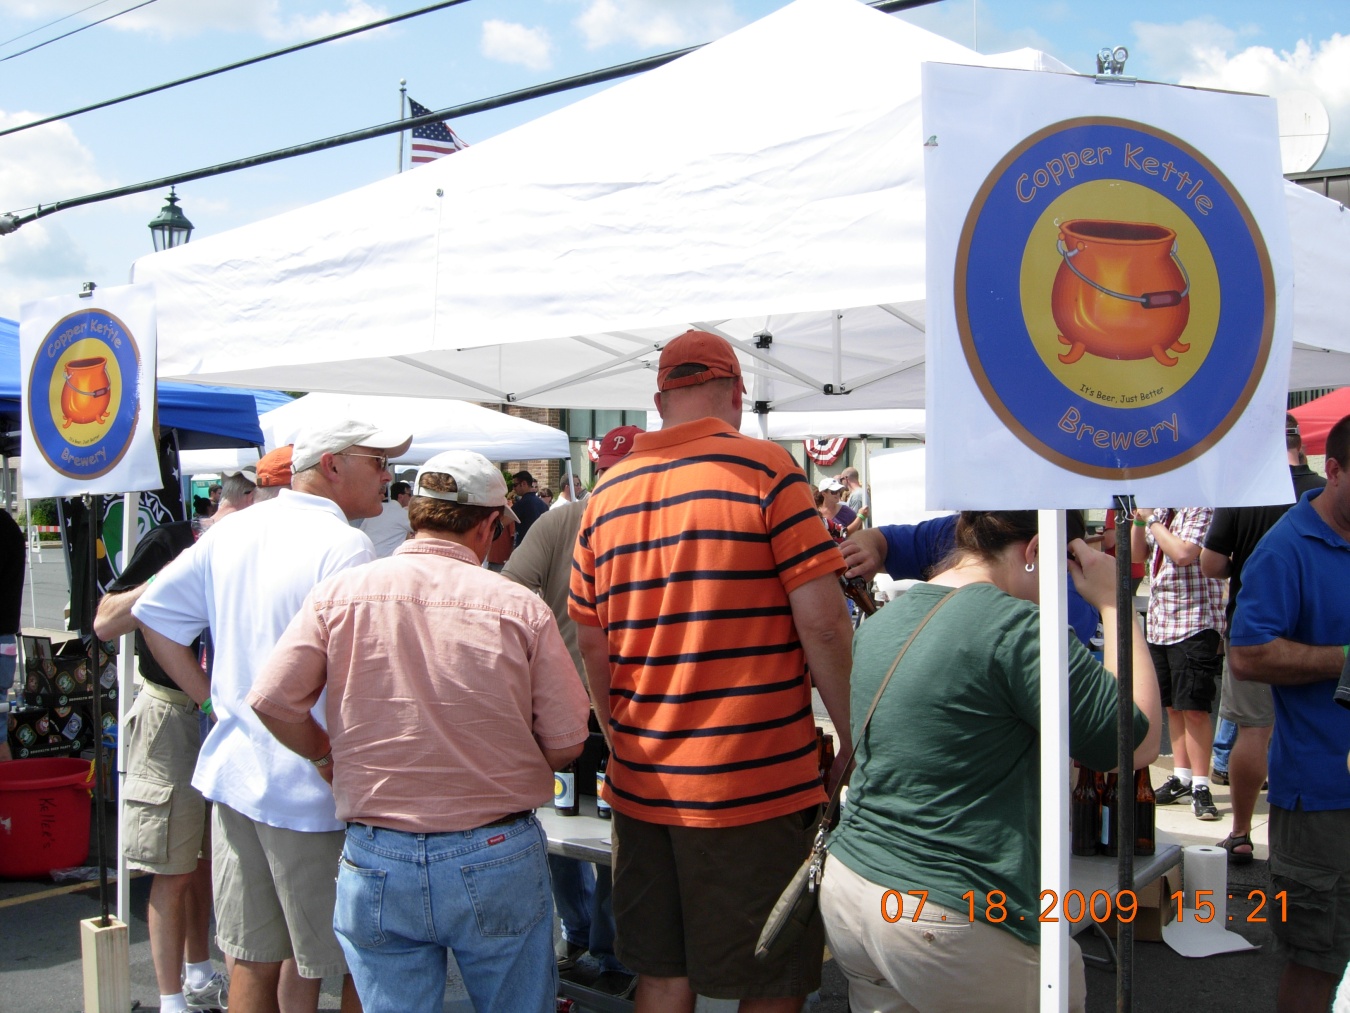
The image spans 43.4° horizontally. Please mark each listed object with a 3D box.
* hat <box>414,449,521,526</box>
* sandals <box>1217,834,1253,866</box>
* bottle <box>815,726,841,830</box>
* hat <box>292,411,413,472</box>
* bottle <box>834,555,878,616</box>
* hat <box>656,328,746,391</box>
[{"bbox_3d":[-0.697,-0.085,5.529,0.339,0.206,0.235,1,-5,-30],"label":"hat"},{"bbox_3d":[2.744,1.681,8.317,0.111,0.126,0.272,-1,1,6],"label":"sandals"},{"bbox_3d":[0.499,0.906,5.701,0.083,0.245,0.177,4,-1,-7],"label":"bottle"},{"bbox_3d":[-1.176,-0.242,6.070,0.336,0.131,0.215,-14,7,-22],"label":"hat"},{"bbox_3d":[0.632,0.306,5.844,0.092,0.115,0.283,-5,-27,7],"label":"bottle"},{"bbox_3d":[0.090,-0.515,5.731,0.255,0.205,0.433,0,13,7],"label":"hat"}]
